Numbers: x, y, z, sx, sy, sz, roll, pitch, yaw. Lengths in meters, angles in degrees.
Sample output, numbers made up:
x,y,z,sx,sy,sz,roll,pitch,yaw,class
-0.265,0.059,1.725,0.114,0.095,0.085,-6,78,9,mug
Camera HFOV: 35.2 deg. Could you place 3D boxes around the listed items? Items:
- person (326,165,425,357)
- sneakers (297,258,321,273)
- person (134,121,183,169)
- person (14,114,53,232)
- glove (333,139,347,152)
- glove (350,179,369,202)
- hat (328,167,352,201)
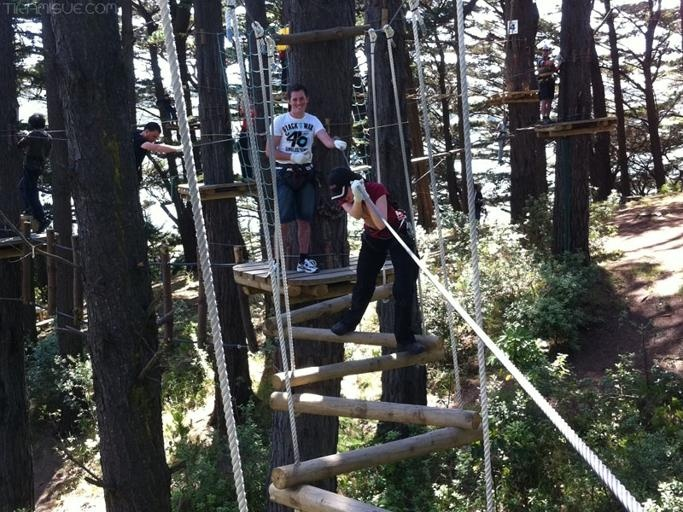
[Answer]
x,y,z,sx,sy,sz,roll,pitch,yaw,class
0.548,0.043,18.090,1.403,3.202,0.925,-4,5,12,person
-0.606,0.173,19.264,0.179,0.260,0.480,-1,5,-43,sneakers
-3.775,-2.270,21.311,0.746,0.815,1.382,-7,7,-12,person
-6.663,-1.806,23.230,0.697,2.580,1.370,-5,5,-3,person
-0.057,-1.968,18.965,0.174,0.189,0.149,-12,0,24,glove
0.265,-1.094,17.785,0.219,0.374,0.131,-7,3,-3,glove
-0.080,-1.246,18.098,0.302,0.549,0.342,35,-17,-36,hat
